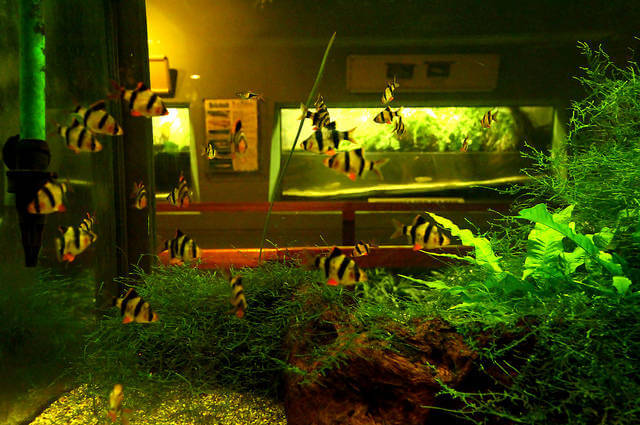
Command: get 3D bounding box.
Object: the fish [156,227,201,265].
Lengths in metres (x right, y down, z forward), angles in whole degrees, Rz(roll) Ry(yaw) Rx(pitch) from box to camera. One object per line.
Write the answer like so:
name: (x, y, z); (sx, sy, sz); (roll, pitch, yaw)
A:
fish: (-0.869, 0.207, 3.356); (0.356, 0.188, 0.099); (8, 13, 30)

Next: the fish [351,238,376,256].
fish: (0.318, 0.264, 4.029); (0.212, 0.112, 0.040); (-28, -10, 33)

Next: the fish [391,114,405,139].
fish: (0.595, -0.653, 4.089); (0.077, 0.158, 0.314); (4, 11, 8)

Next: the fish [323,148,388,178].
fish: (0.221, -0.329, 3.641); (0.335, 0.175, 0.047); (1, 14, -22)

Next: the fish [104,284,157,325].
fish: (-1.058, 0.520, 3.033); (0.321, 0.207, 0.102); (14, 11, 13)

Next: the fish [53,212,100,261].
fish: (-1.556, 0.178, 3.395); (0.114, 0.224, 0.418); (-5, 11, 7)

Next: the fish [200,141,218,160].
fish: (-0.840, -0.465, 4.042); (0.132, 0.133, 0.067); (6, 11, 19)

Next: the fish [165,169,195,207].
fish: (-0.987, -0.141, 3.807); (0.087, 0.212, 0.323); (21, 27, 26)

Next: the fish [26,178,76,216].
fish: (-1.574, -0.090, 3.113); (0.073, 0.197, 0.207); (11, 14, 40)

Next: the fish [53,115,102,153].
fish: (-1.505, -0.472, 3.306); (0.381, 0.212, 0.109); (20, 20, 17)

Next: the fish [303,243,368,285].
fish: (0.079, 0.303, 2.980); (0.394, 0.225, 0.065); (13, 8, 29)

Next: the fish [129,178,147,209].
fish: (-1.307, -0.122, 3.883); (0.108, 0.204, 0.099); (-1, 11, -17)

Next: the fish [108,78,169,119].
fish: (-1.114, -0.688, 3.327); (0.385, 0.205, 0.085); (16, 24, -8)

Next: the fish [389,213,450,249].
fish: (0.655, 0.120, 3.585); (0.188, 0.246, 0.437); (-2, 12, -21)

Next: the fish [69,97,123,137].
fish: (-1.391, -0.587, 3.323); (0.397, 0.223, 0.124); (18, 18, 12)

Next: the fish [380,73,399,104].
fish: (0.522, -0.959, 4.117); (0.116, 0.229, 0.053); (11, -8, 35)

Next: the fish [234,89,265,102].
fish: (-0.520, -0.862, 3.950); (0.209, 0.073, 0.075); (2, 11, -4)

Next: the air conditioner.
air conditioner: (0.801, -1.111, 4.308); (1.283, 0.307, 0.166); (7, 19, 28)
